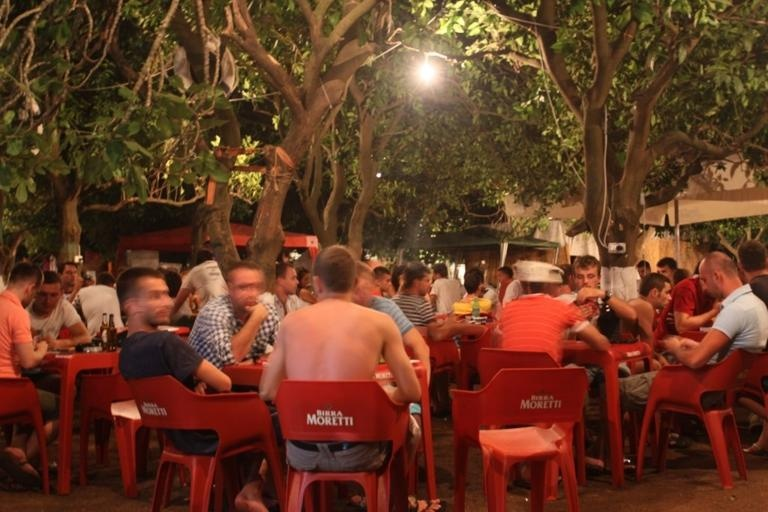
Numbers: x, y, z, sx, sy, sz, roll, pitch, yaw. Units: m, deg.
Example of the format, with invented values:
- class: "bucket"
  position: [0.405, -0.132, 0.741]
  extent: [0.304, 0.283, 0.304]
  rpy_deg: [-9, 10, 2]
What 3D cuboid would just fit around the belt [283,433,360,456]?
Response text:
- class: "belt"
  position: [-0.494, 1.545, 5.653]
  extent: [0.575, 0.098, 0.074]
  rpy_deg: [1, -3, 10]
